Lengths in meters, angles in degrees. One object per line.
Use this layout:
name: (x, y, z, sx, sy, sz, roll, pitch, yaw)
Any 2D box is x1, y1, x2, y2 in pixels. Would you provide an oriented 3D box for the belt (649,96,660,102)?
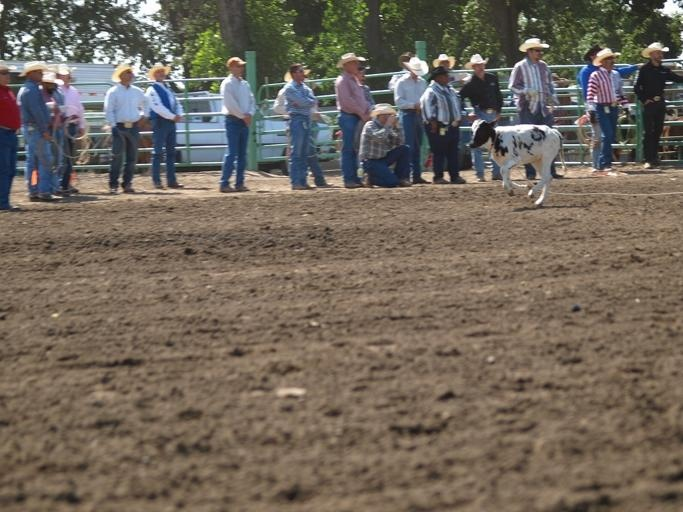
belt: (6.269, -3.129, 13.726, 0.180, 0.101, 0.053, -1, 10, -9)

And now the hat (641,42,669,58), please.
hat: (6.240, -4.112, 13.707, 0.379, 0.349, 0.835, 4, 9, 22)

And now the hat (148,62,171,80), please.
hat: (-3.470, -3.459, 12.896, 0.488, 0.144, 0.421, -3, -24, -23)

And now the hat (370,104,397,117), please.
hat: (0.725, -2.555, 11.960, 0.410, 0.106, 0.289, -1, -27, 6)

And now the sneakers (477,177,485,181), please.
sneakers: (2.679, -1.455, 13.137, 0.107, 0.035, 0.132, -2, -1, -37)

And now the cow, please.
cow: (2.776, -1.393, 10.067, 1.020, 1.182, 1.413, -6, 11, -33)

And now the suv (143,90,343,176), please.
suv: (-2.460, -3.097, 17.188, 5.117, 1.314, 1.984, -3, 10, -8)
